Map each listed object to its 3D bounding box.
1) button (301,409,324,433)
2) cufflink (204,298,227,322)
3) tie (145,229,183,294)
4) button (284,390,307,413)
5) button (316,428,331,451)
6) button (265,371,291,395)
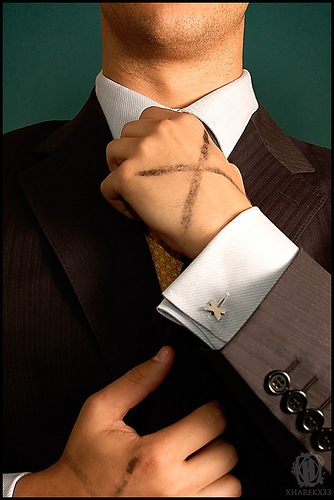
[{"bbox_3d":[0.199,0.234,0.568,0.027,0.019,0.027,-3,46,27],"label":"button"},{"bbox_3d":[0.075,0.091,0.634,0.022,0.024,0.029,-41,42,-14],"label":"cufflink"},{"bbox_3d":[-0.016,0.018,0.818,0.063,0.206,0.013,4,46,15],"label":"tie"},{"bbox_3d":[0.179,0.212,0.576,0.033,0.018,0.025,-26,40,2],"label":"button"},{"bbox_3d":[0.213,0.256,0.563,0.024,0.023,0.021,1,3,-3],"label":"button"},{"bbox_3d":[0.156,0.188,0.584,0.037,0.023,0.025,-19,41,9],"label":"button"}]
